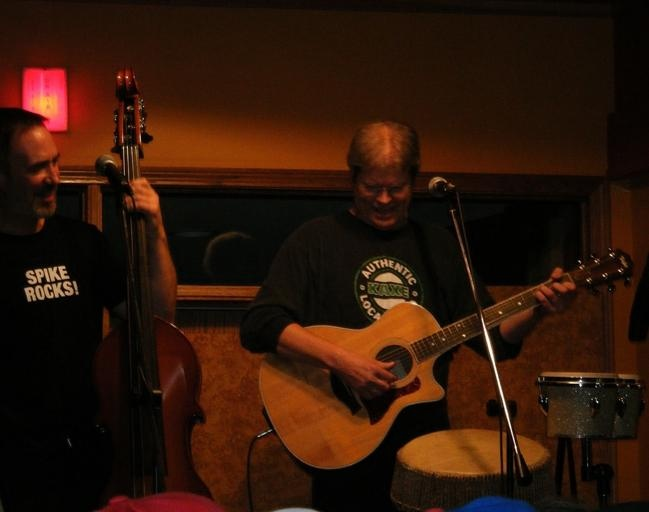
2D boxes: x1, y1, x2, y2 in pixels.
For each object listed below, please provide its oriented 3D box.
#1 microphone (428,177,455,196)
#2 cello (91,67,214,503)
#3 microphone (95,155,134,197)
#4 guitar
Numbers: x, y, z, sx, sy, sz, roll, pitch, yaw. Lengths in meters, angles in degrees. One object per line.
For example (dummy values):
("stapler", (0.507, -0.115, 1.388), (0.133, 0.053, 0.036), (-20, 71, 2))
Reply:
("microphone", (0.467, -0.280, 3.049), (0.093, 0.087, 0.145), (-3, -3, 5))
("cello", (-0.676, 0.080, 2.966), (0.413, 1.699, 0.548), (-3, -2, 13))
("microphone", (-0.771, -0.287, 2.781), (0.109, 0.160, 0.210), (-1, -3, -23))
("guitar", (0.467, 0.393, 3.206), (1.782, 0.733, 0.189), (-23, -5, -9))
